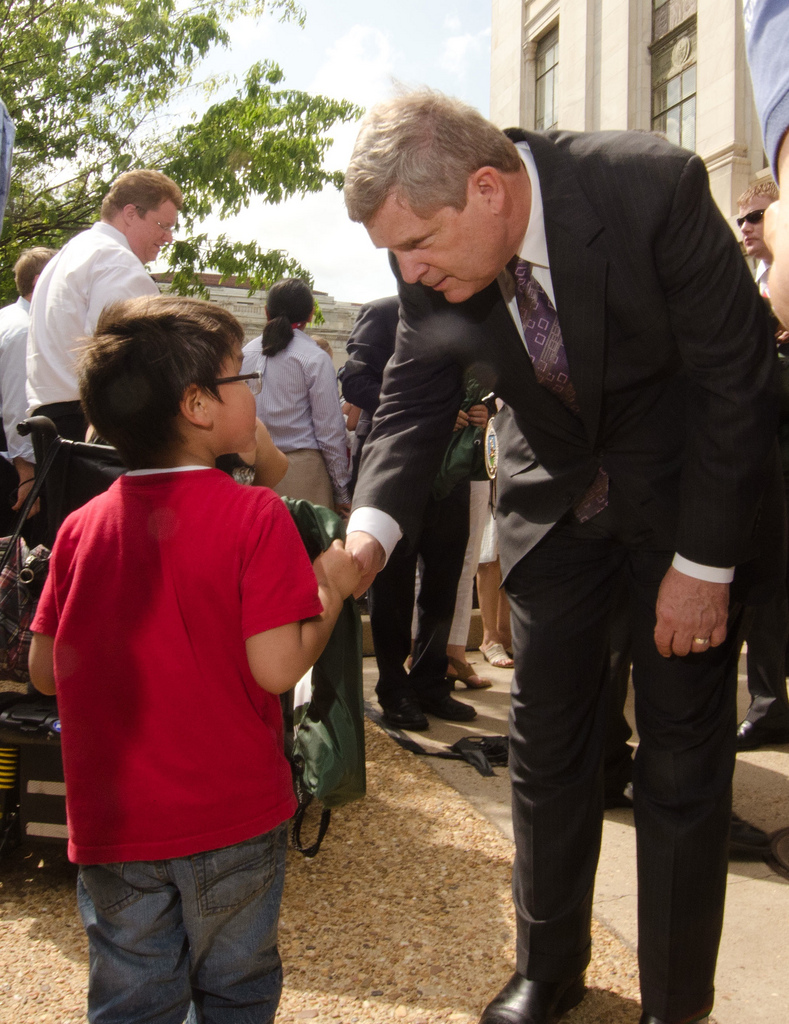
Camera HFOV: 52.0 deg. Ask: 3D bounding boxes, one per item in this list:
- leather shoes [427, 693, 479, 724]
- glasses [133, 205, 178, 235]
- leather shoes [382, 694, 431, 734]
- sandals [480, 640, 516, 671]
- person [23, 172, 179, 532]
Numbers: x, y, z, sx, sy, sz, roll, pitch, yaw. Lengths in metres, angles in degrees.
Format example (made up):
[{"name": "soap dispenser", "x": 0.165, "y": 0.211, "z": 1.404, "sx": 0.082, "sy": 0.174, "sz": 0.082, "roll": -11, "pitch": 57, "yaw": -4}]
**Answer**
[{"name": "leather shoes", "x": 0.281, "y": 1.009, "z": 4.181, "sx": 0.293, "sy": 0.121, "sz": 0.111, "roll": -1, "pitch": 0, "yaw": 37}, {"name": "glasses", "x": -1.005, "y": -1.251, "z": 3.438, "sx": 0.122, "sy": 0.117, "sz": 0.090, "roll": -15, "pitch": 25, "yaw": 5}, {"name": "leather shoes", "x": 0.058, "y": 0.996, "z": 3.955, "sx": 0.106, "sy": 0.116, "sz": 0.266, "roll": 3, "pitch": -14, "yaw": -31}, {"name": "sandals", "x": 0.675, "y": 1.007, "z": 5.619, "sx": 0.163, "sy": 0.199, "sz": 0.499, "roll": -6, "pitch": -12, "yaw": -8}, {"name": "person", "x": -1.234, "y": -0.574, "z": 3.445, "sx": 0.538, "sy": 1.719, "sz": 0.561, "roll": 25, "pitch": 25, "yaw": 31}]
